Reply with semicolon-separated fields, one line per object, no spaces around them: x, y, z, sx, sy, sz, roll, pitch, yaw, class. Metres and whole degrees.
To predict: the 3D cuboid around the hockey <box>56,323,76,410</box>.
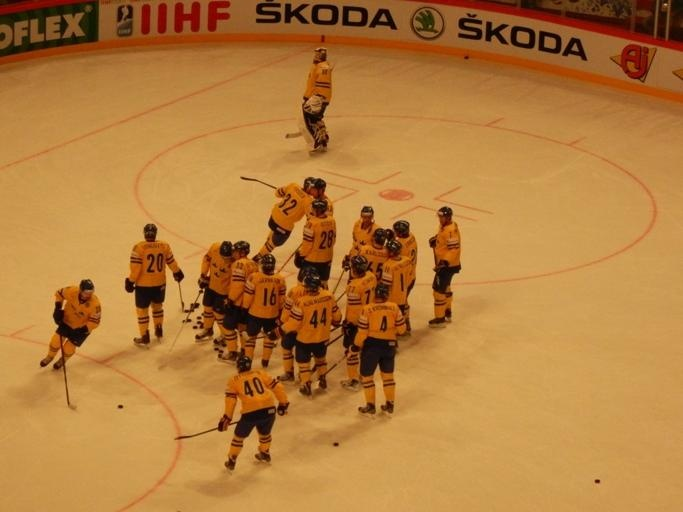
-3.942;1.587;11.366;0.184;1.258;0.289;-21;30;-36;hockey

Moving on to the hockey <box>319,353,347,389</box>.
-0.158;1.718;11.856;0.221;0.608;0.094;27;52;-9;hockey

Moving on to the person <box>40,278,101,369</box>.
-3.982;1.016;11.637;0.729;1.578;0.529;26;15;-3;person

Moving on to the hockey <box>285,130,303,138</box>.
-1.161;-2.914;19.165;0.389;0.191;0.450;-2;16;-4;hockey

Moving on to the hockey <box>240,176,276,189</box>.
-1.791;-1.574;17.035;0.068;0.167;1.184;-12;20;-40;hockey

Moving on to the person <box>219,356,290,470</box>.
-1.163;2.005;10.141;0.956;1.373;0.521;-5;6;-27;person

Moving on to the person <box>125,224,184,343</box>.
-2.900;0.354;12.501;0.901;1.845;0.847;-5;23;-19;person

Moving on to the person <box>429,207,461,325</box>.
1.796;0.206;13.158;0.717;1.734;0.706;-4;6;-43;person
